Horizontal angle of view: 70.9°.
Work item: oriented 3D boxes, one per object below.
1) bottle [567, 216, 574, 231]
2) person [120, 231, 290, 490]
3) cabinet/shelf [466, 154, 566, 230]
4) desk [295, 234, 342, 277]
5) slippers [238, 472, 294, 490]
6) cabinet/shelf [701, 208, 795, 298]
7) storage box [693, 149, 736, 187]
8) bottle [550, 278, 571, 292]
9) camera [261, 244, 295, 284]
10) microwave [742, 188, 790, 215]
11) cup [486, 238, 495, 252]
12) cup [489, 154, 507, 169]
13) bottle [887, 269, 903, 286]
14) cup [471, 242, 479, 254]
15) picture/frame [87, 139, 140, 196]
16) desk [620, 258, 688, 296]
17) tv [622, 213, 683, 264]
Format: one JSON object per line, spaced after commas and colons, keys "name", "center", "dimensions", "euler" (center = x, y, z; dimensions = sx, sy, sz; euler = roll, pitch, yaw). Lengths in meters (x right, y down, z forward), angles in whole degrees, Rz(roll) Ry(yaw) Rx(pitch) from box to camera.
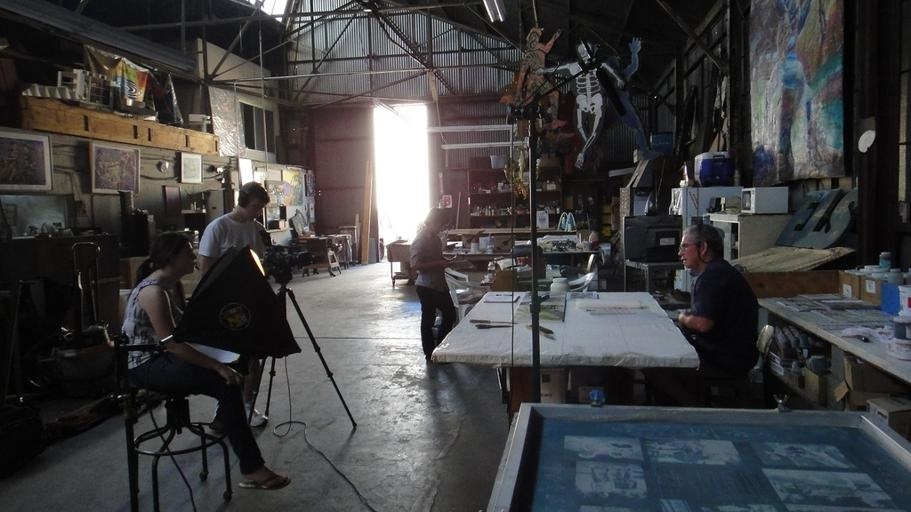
{"name": "bottle", "center": [2.410, -0.713, 13.435], "dimensions": [0.162, 0.325, 0.629], "euler": [-3, 7, 11]}
{"name": "person", "center": [-2.498, 1.032, 6.244], "dimensions": [1.388, 2.529, 0.699], "euler": [-5, 6, -6]}
{"name": "cabinet/shelf", "center": [1.417, -1.410, 14.393], "dimensions": [2.461, 2.397, 0.713], "euler": [0, 0, 10]}
{"name": "desk", "center": [-3.322, -0.019, 15.754], "dimensions": [0.934, 0.897, 1.539], "euler": [-6, 7, -13]}
{"name": "slippers", "center": [-1.848, 2.185, 6.211], "dimensions": [0.477, 0.114, 0.196], "euler": [1, 6, 10]}
{"name": "cabinet/shelf", "center": [3.743, -0.156, 8.317], "dimensions": [0.948, 1.367, 1.391], "euler": [2, -1, -20]}
{"name": "storage box", "center": [3.943, -1.328, 9.772], "dimensions": [0.521, 0.519, 0.532], "euler": [-1, 7, 23]}
{"name": "bottle", "center": [1.249, 0.348, 7.651], "dimensions": [0.177, 0.150, 0.177], "euler": [0, -3, -5]}
{"name": "camera", "center": [-1.799, 0.079, 6.848], "dimensions": [0.272, 0.395, 0.302], "euler": [-6, 9, 35]}
{"name": "microwave", "center": [4.086, -0.729, 8.456], "dimensions": [0.378, 0.360, 0.533], "euler": [1, 1, 2]}
{"name": "cup", "center": [0.669, -0.228, 12.402], "dimensions": [0.130, 0.283, 0.418], "euler": [-3, 7, 9]}
{"name": "cup", "center": [1.065, -2.364, 15.989], "dimensions": [0.523, 0.390, 0.495], "euler": [0, 11, 0]}
{"name": "bottle", "center": [4.386, 0.213, 6.466], "dimensions": [0.152, 0.144, 0.153], "euler": [1, 2, 4]}
{"name": "cup", "center": [0.365, -0.165, 12.217], "dimensions": [0.166, 0.182, 0.190], "euler": [0, -2, 0]}
{"name": "picture/frame", "center": [-6.378, -1.656, 12.036], "dimensions": [0.176, 0.933, 1.050], "euler": [-2, 7, 20]}
{"name": "desk", "center": [2.994, 0.422, 10.000], "dimensions": [0.742, 0.718, 0.743], "euler": [-1, 3, -7]}
{"name": "tv", "center": [2.816, -0.296, 9.415], "dimensions": [1.104, 0.911, 0.602], "euler": [1, 9, 9]}
